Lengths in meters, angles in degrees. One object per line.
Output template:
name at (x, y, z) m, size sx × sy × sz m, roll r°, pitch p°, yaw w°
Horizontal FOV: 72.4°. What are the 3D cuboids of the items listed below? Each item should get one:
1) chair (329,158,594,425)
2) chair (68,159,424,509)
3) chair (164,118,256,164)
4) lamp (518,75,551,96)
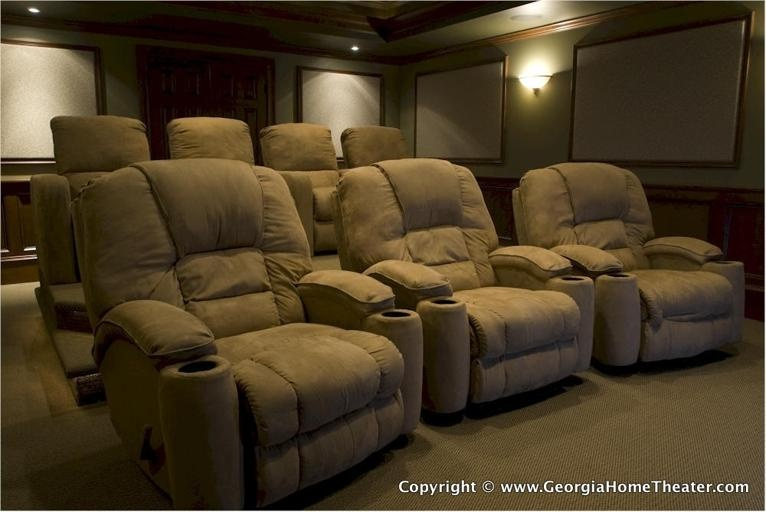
chair at (0.561, 0.133, 3.907) m, size 1.715 × 1.663 × 1.731 m, roll -5°, pitch 11°, yaw -33°
chair at (-0.715, 0.343, 3.209) m, size 1.848 × 1.679 × 1.843 m, roll -7°, pitch 12°, yaw -43°
chair at (-1.777, -1.206, 5.393) m, size 0.793 × 0.493 × 0.393 m, roll -7°, pitch 11°, yaw -19°
lamp at (1.901, -2.198, 6.674) m, size 0.151 × 0.286 × 0.495 m, roll -9°, pitch 11°, yaw -26°
